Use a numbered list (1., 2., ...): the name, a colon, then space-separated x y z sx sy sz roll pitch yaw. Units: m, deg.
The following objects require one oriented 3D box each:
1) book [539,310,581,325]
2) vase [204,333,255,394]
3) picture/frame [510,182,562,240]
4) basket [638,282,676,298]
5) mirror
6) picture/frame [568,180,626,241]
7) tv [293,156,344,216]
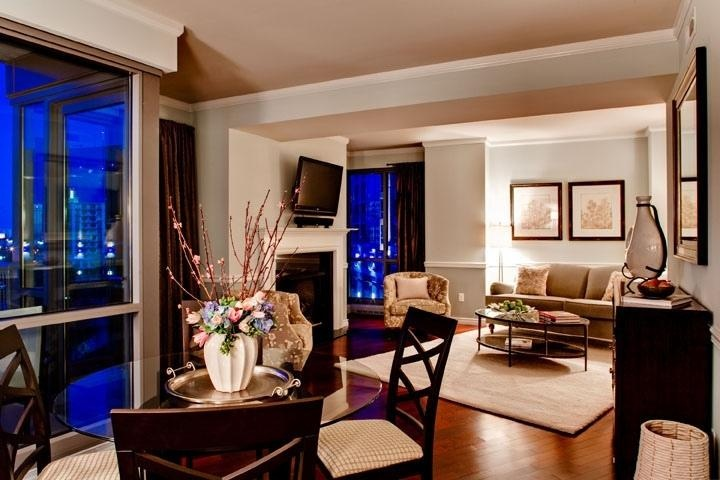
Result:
1. book: 2.380 0.922 6.125 0.470 0.087 0.401 1 6 18
2. vase: -0.734 0.709 2.954 0.320 0.304 0.320 -1 0 -14
3. picture/frame: 2.939 -0.476 8.502 0.964 1.103 0.083 0 2 28
4. basket: 2.128 0.356 3.700 0.149 0.065 0.143 -2 -5 3
5. mirror: 2.367 -0.584 3.702 0.081 1.643 1.757 -1 2 26
6. picture/frame: 3.787 -0.467 8.164 0.978 1.167 0.082 0 2 31
7. tv: -0.587 -0.735 7.081 0.131 0.645 0.901 7 -1 27
